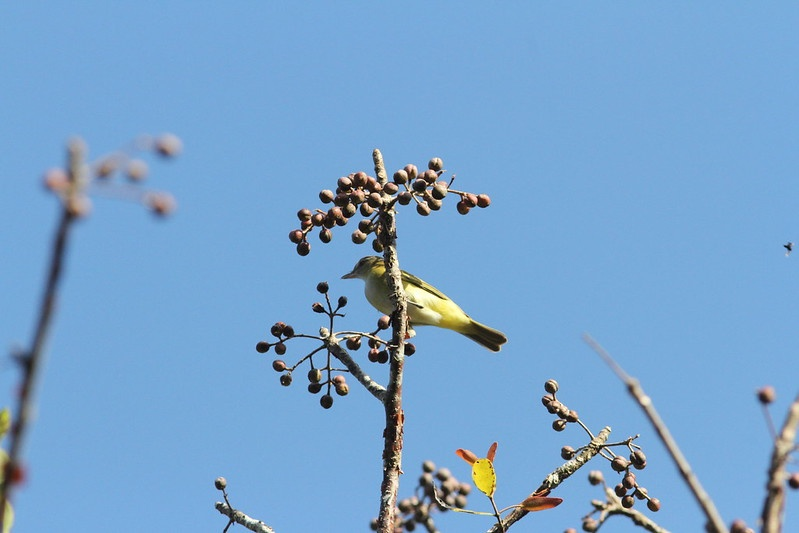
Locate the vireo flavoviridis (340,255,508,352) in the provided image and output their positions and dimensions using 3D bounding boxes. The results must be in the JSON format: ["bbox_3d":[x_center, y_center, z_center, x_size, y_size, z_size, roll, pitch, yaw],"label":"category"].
[{"bbox_3d":[0.255,0.374,12.480,1.366,0.803,0.509,46,-27,25],"label":"vireo flavoviridis"}]
